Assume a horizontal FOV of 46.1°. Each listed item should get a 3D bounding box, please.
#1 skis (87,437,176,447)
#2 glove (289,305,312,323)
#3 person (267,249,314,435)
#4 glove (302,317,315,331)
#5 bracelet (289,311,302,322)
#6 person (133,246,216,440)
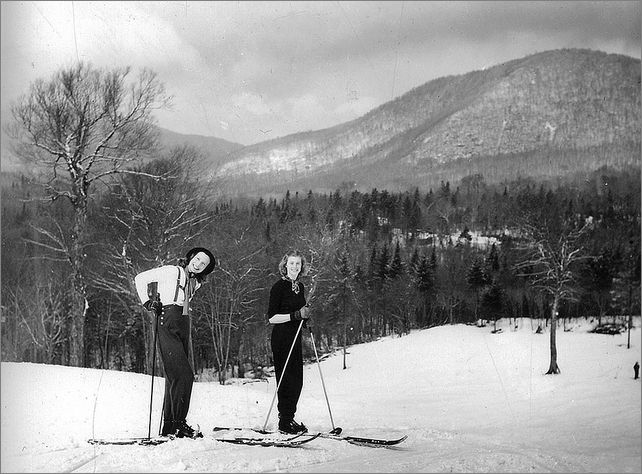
[{"bbox_3d":[-2.659,2.846,10.394,1.225,0.109,0.231,-6,-12,15],"label":"skis"},{"bbox_3d":[-0.280,1.117,10.663,0.216,0.086,0.229,-44,-25,2],"label":"glove"},{"bbox_3d":[-0.462,1.536,10.810,0.573,2.581,0.612,-1,-8,0],"label":"person"},{"bbox_3d":[-0.189,1.252,10.789,0.184,0.109,0.169,-1,-8,-4],"label":"glove"},{"bbox_3d":[-0.368,1.151,10.665,0.129,0.060,0.118,-12,18,-30],"label":"bracelet"},{"bbox_3d":[-2.049,1.476,10.503,1.025,2.641,0.442,2,-9,-18],"label":"person"}]
